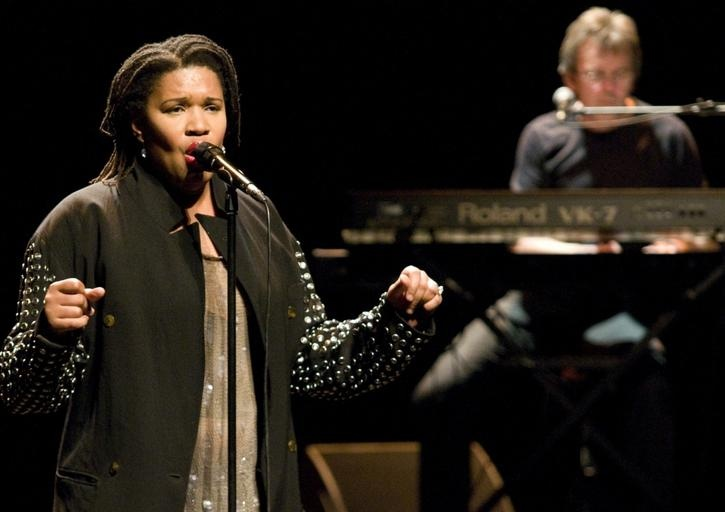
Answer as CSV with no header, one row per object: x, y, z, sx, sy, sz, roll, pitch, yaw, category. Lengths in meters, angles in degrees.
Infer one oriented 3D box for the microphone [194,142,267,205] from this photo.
-0.427,-0.271,3.334,0.366,0.094,0.105,30,34,27,microphone
